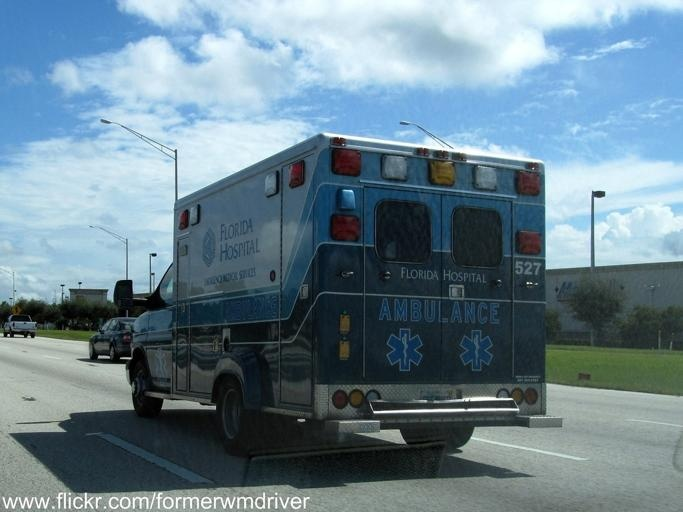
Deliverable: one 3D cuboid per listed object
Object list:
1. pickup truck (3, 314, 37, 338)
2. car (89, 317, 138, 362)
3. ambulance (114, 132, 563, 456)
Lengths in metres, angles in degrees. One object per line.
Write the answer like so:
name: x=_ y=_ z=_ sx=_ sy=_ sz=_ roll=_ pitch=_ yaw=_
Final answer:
pickup truck: x=-26.793 y=5.869 z=60.409 sx=1.712 sy=1.650 sz=3.845 roll=3 pitch=-4 yaw=-25
car: x=-9.194 y=3.397 z=29.150 sx=1.939 sy=1.741 sz=4.479 roll=4 pitch=-3 yaw=-25
ambulance: x=-0.805 y=1.043 z=12.402 sx=4.063 sy=4.149 sz=7.855 roll=5 pitch=-9 yaw=-35
